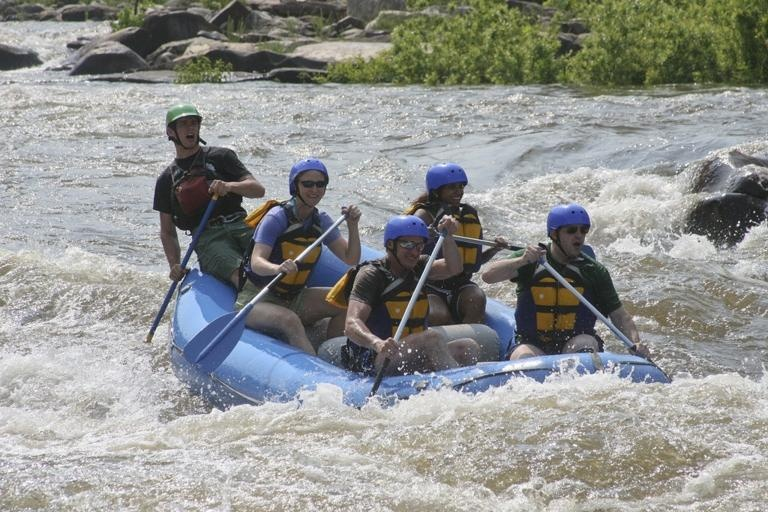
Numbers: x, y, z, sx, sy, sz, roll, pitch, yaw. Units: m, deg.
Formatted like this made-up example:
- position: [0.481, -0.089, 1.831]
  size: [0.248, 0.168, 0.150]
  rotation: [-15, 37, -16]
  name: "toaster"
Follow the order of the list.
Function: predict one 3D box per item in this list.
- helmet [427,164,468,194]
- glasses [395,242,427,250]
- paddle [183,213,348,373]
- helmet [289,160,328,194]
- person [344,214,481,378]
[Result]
- position: [0.840, -1.121, 17.261]
  size: [0.513, 0.344, 0.388]
  rotation: [-1, 3, 37]
  name: "helmet"
- position: [0.340, -0.154, 16.263]
  size: [0.334, 0.100, 0.053]
  rotation: [0, 16, -2]
  name: "glasses"
- position: [-1.699, 0.583, 16.978]
  size: [3.103, 0.137, 0.548]
  rotation: [-35, 65, -8]
  name: "paddle"
- position: [-1.154, -1.192, 17.179]
  size: [0.488, 0.532, 0.420]
  rotation: [3, 37, -19]
  name: "helmet"
- position: [0.275, 0.541, 16.351]
  size: [1.699, 2.143, 1.078]
  rotation: [-4, 17, -16]
  name: "person"
